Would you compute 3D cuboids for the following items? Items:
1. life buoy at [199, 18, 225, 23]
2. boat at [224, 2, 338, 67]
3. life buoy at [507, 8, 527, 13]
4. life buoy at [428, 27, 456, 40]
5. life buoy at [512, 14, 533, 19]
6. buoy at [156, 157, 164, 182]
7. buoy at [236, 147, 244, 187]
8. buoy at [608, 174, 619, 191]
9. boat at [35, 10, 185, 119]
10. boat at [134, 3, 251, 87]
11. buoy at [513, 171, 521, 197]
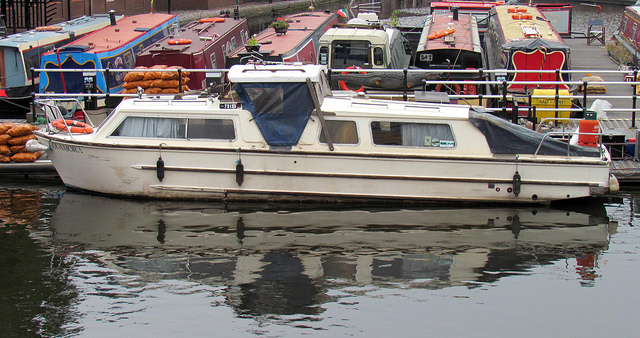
[{"bbox_3d":[-5.233,-7.068,47.916,1.307,0.237,0.640,-3,5,-16],"label":"life buoy"},{"bbox_3d":[-1.663,-5.424,44.710,2.394,1.791,7.619,-1,22,10],"label":"boat"},{"bbox_3d":[9.503,-7.614,48.283,0.658,0.110,0.397,0,3,-5],"label":"life buoy"},{"bbox_3d":[5.390,-5.914,44.193,1.301,0.133,0.501,-12,28,-18],"label":"life buoy"},{"bbox_3d":[9.469,-7.089,46.866,0.938,0.236,0.503,-2,5,3],"label":"life buoy"},{"bbox_3d":[-5.836,0.019,36.399,0.271,0.896,0.127,-4,7,-6],"label":"buoy"},{"bbox_3d":[-2.934,0.154,36.258,0.286,0.986,0.134,-2,7,12],"label":"buoy"},{"bbox_3d":[10.672,0.523,36.297,0.273,0.569,0.752,-1,6,22],"label":"buoy"},{"bbox_3d":[-9.335,-5.190,46.165,3.740,3.648,9.764,0,21,12],"label":"boat"},{"bbox_3d":[-5.952,-5.627,46.002,2.388,2.708,7.494,1,17,9],"label":"boat"},{"bbox_3d":[7.050,0.547,35.833,0.258,0.911,0.202,0,8,26],"label":"buoy"}]
